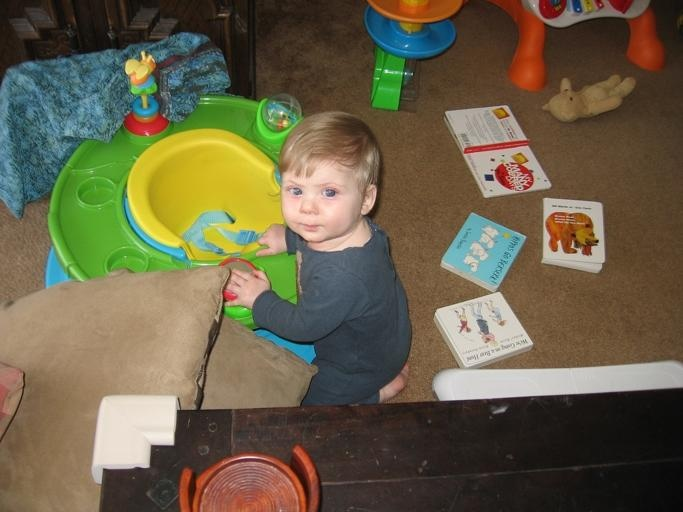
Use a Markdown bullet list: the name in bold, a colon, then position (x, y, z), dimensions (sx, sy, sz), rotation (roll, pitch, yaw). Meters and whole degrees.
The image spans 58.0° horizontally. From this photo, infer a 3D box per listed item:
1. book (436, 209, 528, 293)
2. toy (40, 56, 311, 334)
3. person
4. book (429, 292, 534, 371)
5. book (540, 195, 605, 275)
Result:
- **book**: position (0.486, -0.017, 2.121), dimensions (0.217, 0.045, 0.259), rotation (27, 67, 13)
- **toy**: position (-0.552, -0.114, 2.000), dimensions (0.759, 0.362, 0.754), rotation (-37, 83, -35)
- **person**: position (-0.035, 0.035, 1.617), dimensions (0.450, 0.822, 0.446), rotation (4, 35, 3)
- **book**: position (0.444, 0.239, 1.962), dimensions (0.297, 0.057, 0.332), rotation (2, 40, 13)
- **book**: position (0.817, -0.085, 2.181), dimensions (0.206, 0.036, 0.274), rotation (10, 64, 5)
